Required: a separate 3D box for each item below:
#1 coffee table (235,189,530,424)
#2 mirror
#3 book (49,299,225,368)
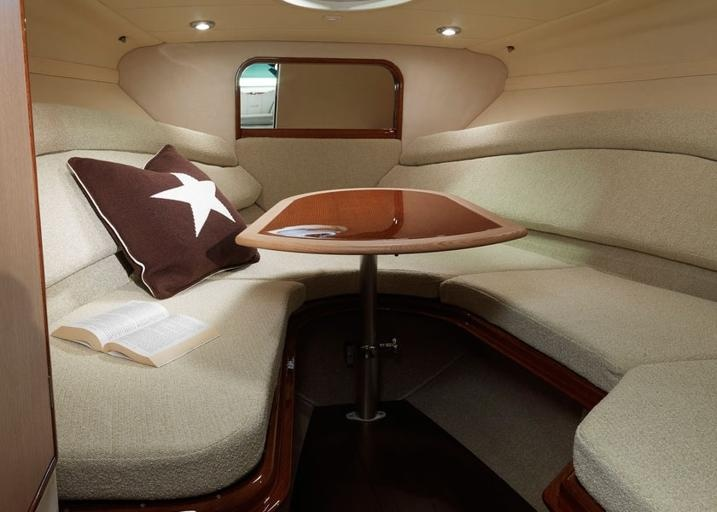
[{"bbox_3d":[0.058,0.047,1.938,1.122,0.782,0.928,0,21,2],"label":"coffee table"},{"bbox_3d":[-0.283,-1.080,3.542,1.139,0.528,0.033,1,2,1],"label":"mirror"},{"bbox_3d":[-0.615,0.218,1.478,0.313,0.040,0.203,12,16,19],"label":"book"}]
